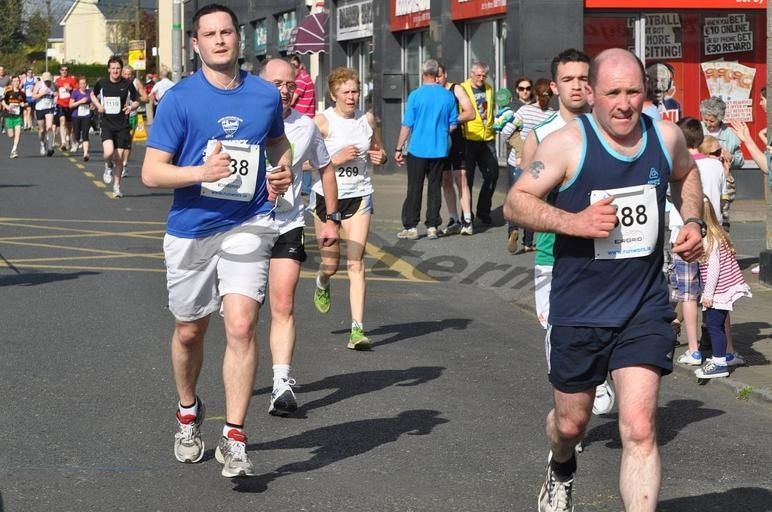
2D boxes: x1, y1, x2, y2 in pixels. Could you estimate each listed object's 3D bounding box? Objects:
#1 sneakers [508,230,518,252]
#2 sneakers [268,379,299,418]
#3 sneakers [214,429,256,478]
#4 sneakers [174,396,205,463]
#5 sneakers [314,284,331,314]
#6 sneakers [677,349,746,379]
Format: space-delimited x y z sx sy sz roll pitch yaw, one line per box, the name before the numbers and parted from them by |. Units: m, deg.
sneakers | 1.846 -0.212 11.329 0.132 0.361 0.150 8 42 9
sneakers | -0.766 1.024 5.787 0.207 0.293 0.273 -1 10 -9
sneakers | -0.880 1.153 4.589 0.152 0.185 0.393 1 4 -17
sneakers | -1.231 1.063 4.964 0.166 0.437 0.189 -1 -5 -4
sneakers | -0.613 0.472 7.619 0.140 0.390 0.166 -3 13 -2
sneakers | 2.818 0.932 6.650 0.617 0.271 0.212 4 11 -1
